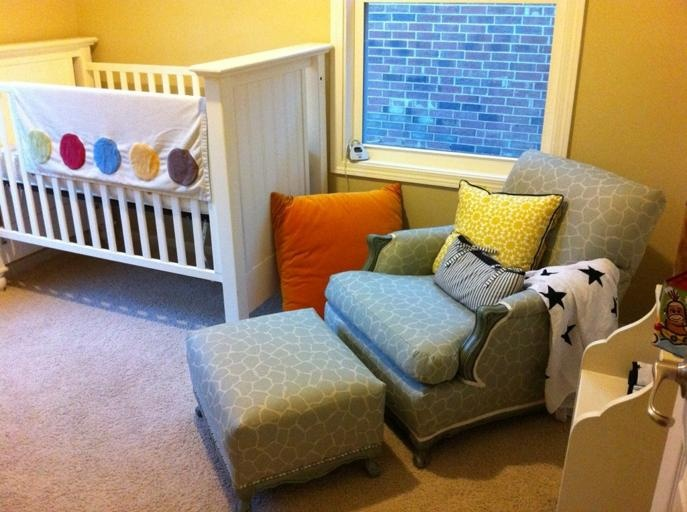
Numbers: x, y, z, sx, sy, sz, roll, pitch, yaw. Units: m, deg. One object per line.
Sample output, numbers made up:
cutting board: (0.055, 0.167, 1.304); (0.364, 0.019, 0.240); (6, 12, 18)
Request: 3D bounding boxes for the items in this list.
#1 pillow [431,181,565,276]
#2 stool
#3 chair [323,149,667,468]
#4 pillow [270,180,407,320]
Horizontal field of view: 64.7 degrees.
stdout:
pillow: (0.648, -0.089, 2.368); (0.429, 0.415, 0.229); (10, -3, 35)
stool: (-0.203, 0.452, 1.994); (0.608, 0.446, 0.647); (-9, 30, -24)
chair: (0.607, 0.132, 2.418); (1.169, 0.984, 0.919); (-10, 22, -26)
pillow: (-0.030, -0.015, 2.596); (0.577, 0.597, 0.217); (-11, 6, -18)
